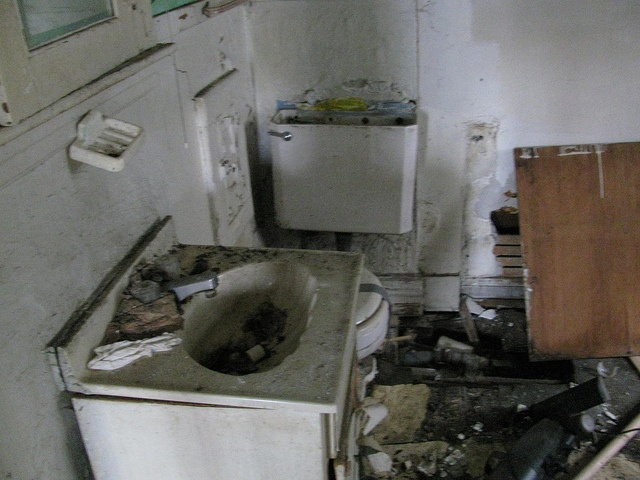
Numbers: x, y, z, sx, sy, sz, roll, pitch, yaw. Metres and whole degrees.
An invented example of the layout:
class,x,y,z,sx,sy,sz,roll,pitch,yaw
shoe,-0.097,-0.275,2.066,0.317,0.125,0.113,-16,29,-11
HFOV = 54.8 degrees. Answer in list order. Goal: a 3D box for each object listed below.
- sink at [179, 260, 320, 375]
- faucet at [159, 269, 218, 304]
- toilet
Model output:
class,x,y,z,sx,sy,sz,roll,pitch,yaw
sink,-0.226,0.255,1.924,0.427,0.122,0.461,-1,44,26
faucet,-0.406,0.139,1.896,0.149,0.030,0.092,-6,14,2
toilet,0.084,-0.224,2.842,0.717,0.760,0.983,-1,20,8
